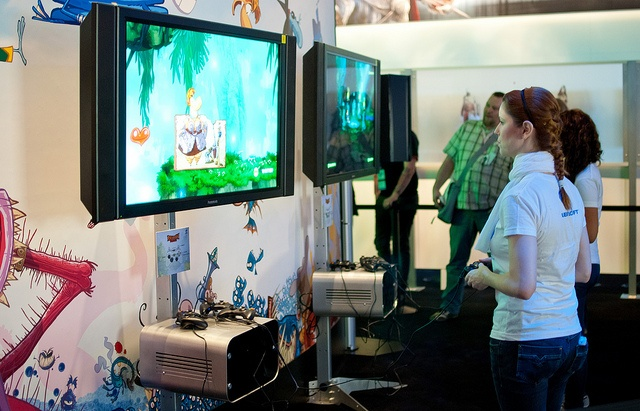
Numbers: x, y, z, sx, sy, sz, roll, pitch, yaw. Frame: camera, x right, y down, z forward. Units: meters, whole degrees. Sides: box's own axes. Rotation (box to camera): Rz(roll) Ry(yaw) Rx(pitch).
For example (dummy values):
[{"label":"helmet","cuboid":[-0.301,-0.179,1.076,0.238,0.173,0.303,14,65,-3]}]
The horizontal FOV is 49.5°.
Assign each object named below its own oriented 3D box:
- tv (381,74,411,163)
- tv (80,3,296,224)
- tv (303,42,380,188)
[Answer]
[{"label":"tv","cuboid":[0.608,-0.677,5.361,0.328,0.646,0.194,-14,18,-41]},{"label":"tv","cuboid":[-0.762,-0.508,3.856,0.380,0.980,1.190,7,9,38]},{"label":"tv","cuboid":[0.136,-0.613,4.781,0.319,1.002,0.923,7,11,25]}]
